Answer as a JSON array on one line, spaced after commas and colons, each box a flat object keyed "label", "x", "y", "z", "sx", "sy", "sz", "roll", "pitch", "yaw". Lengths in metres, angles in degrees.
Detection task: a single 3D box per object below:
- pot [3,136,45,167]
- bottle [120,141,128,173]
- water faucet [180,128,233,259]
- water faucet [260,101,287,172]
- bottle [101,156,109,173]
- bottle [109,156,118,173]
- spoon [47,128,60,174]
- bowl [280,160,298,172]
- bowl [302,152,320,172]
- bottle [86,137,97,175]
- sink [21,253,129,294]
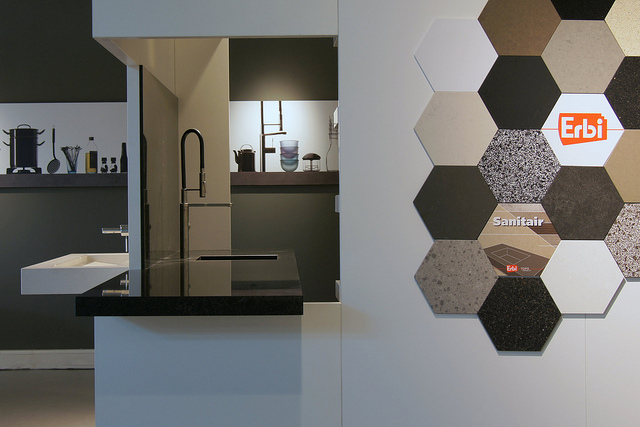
[{"label": "pot", "x": -2.394, "y": -0.501, "z": 4.964, "sx": 0.196, "sy": 0.244, "sz": 0.332, "roll": 1, "pitch": 2, "yaw": 21}, {"label": "bottle", "x": -1.606, "y": -0.463, "z": 5.010, "sx": 0.049, "sy": 0.254, "sz": 0.088, "roll": 1, "pitch": 5, "yaw": -25}, {"label": "water faucet", "x": -0.800, "y": -0.147, "z": 4.027, "sx": 0.267, "sy": 0.819, "sz": 0.572, "roll": 4, "pitch": 5, "yaw": 3}, {"label": "water faucet", "x": -0.412, "y": -0.686, "z": 5.298, "sx": 0.235, "sy": 0.720, "sz": 0.074, "roll": -2, "pitch": -12, "yaw": -2}, {"label": "bottle", "x": -1.757, "y": -0.398, "z": 5.014, "sx": 0.060, "sy": 0.128, "sz": 0.047, "roll": 2, "pitch": 5, "yaw": -19}, {"label": "bottle", "x": -1.690, "y": -0.403, "z": 5.019, "sx": 0.067, "sy": 0.130, "sz": 0.050, "roll": 3, "pitch": 5, "yaw": -11}, {"label": "spoon", "x": -2.168, "y": -0.513, "z": 4.996, "sx": 0.075, "sy": 0.362, "sz": 0.063, "roll": 5, "pitch": 5, "yaw": 16}, {"label": "bowl", "x": -0.267, "y": -0.413, "z": 5.252, "sx": 0.153, "sy": 0.098, "sz": 0.092, "roll": 3, "pitch": 5, "yaw": -4}, {"label": "bowl", "x": -0.072, "y": -0.432, "z": 5.220, "sx": 0.152, "sy": 0.171, "sz": 0.158, "roll": 0, "pitch": -4, "yaw": 0}, {"label": "bottle", "x": -1.870, "y": -0.476, "z": 5.022, "sx": 0.090, "sy": 0.287, "sz": 0.067, "roll": 2, "pitch": 5, "yaw": -18}, {"label": "sink", "x": -1.782, "y": 0.466, "z": 4.560, "sx": 0.653, "sy": 0.271, "sz": 0.654, "roll": 3, "pitch": 6, "yaw": -12}]
